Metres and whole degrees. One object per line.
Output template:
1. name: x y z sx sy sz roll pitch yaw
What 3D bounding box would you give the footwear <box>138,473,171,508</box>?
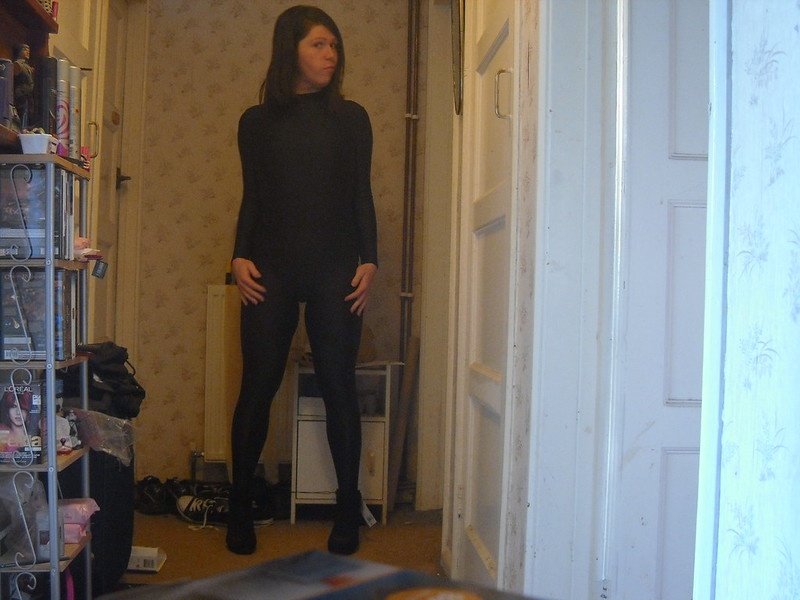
1. footwear: -1.107 0.870 3.391 0.087 0.089 0.195 2 4 -16

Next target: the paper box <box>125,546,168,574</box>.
1. paper box: -0.925 0.953 2.737 0.088 0.088 0.066 3 -34 -6

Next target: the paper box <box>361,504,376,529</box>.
1. paper box: -0.134 0.943 3.247 0.054 0.105 0.024 -26 -5 -24

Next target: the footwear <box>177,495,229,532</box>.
1. footwear: -0.833 0.914 3.198 0.254 0.115 0.105 8 -26 -18

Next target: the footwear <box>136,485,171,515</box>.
1. footwear: -1.095 0.887 3.354 0.086 0.080 0.195 2 3 -12

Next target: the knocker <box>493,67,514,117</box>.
1. knocker: 0.292 -0.591 2.165 0.045 0.139 0.018 1 5 4

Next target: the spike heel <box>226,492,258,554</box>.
1. spike heel: -0.620 0.883 2.945 0.111 0.222 0.112 2 -3 -13

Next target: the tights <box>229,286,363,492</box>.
1. tights: -0.413 0.351 3.053 0.511 0.826 0.142 1 -3 -2

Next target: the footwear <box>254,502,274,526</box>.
1. footwear: -0.583 0.923 3.204 0.062 0.069 0.086 1 3 -7

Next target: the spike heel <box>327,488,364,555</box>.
1. spike heel: -0.223 0.880 3.000 0.130 0.240 0.219 1 -3 -5

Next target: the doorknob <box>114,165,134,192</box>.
1. doorknob: -1.339 -0.579 3.616 0.081 0.129 0.121 2 -1 2
